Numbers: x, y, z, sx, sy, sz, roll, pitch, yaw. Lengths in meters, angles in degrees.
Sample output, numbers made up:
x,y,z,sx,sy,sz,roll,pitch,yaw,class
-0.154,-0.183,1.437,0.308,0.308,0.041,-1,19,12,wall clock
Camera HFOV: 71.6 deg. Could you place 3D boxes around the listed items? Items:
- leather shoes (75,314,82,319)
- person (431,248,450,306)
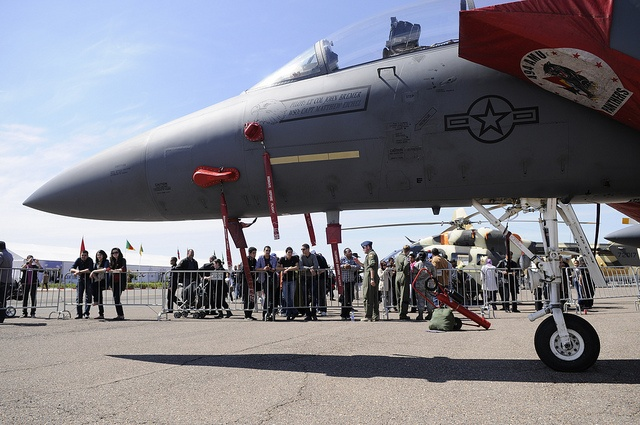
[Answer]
x,y,z,sx,sy,sz,roll,pitch,yaw,class
-7.130,3.066,13.080,0.117,0.144,0.160,1,-16,0,leather shoes
3.568,1.877,13.357,0.606,1.729,0.673,2,16,6,person
